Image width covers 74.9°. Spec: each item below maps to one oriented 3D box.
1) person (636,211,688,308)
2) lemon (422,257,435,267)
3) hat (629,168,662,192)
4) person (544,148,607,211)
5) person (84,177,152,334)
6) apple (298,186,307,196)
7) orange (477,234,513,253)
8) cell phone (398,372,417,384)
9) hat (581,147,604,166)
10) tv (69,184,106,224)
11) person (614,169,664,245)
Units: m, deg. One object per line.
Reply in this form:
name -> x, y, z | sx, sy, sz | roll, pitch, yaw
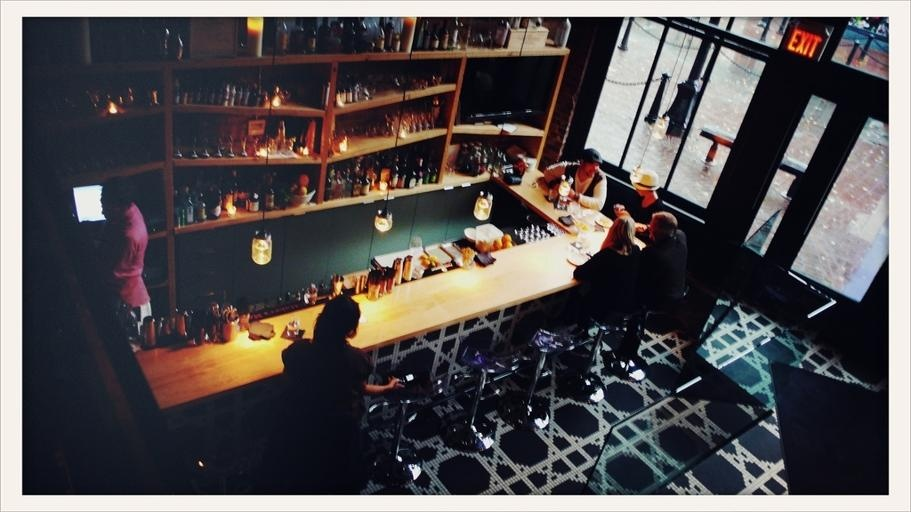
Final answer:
person -> 3.069, 0.085, 8.808 | 0.762, 1.468, 0.506 | -2, 21, 3
lemon -> -0.380, 0.078, 8.569 | 0.140, 0.045, 0.127 | 6, 24, -8
hat -> 2.981, -1.192, 9.368 | 0.353, 0.391, 0.428 | 6, 21, 24
person -> 2.086, -1.285, 10.171 | 1.032, 1.202, 0.757 | 11, 36, 7
person -> -4.003, -0.045, 7.003 | 0.834, 2.093, 0.766 | 0, 47, -26
apple -> -2.091, -0.907, 8.154 | 0.111, 0.115, 0.107 | 20, 28, 21
orange -> 0.594, -0.189, 9.082 | 0.350, 0.114, 0.325 | -6, 24, -13
cell phone -> -0.599, 1.503, 7.322 | 0.227, 0.116, 0.121 | -10, 60, -29
hat -> 2.293, -1.694, 10.030 | 0.294, 0.148, 0.365 | 7, 19, 10
tv -> -4.368, -0.635, 7.073 | 0.441, 0.382, 0.102 | -8, 17, -37
person -> 2.987, -0.778, 9.573 | 0.613, 1.497, 0.612 | 0, 53, -1
